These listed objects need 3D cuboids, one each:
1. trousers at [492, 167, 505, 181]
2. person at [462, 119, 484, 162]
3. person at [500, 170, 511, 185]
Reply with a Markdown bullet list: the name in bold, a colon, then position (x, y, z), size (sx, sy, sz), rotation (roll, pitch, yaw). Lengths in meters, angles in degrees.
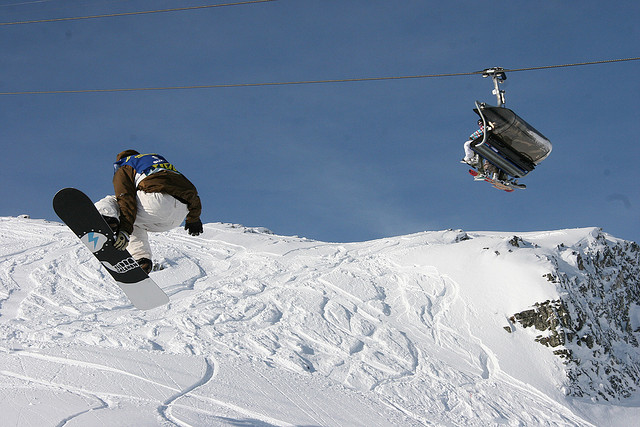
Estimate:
- **trousers**: position (9.124, -2.024, 37.566), size (0.621, 0.524, 0.142), rotation (22, 11, 6)
- **person**: position (7.725, -3.725, 37.275), size (0.993, 1.965, 1.473), rotation (1, -15, 5)
- **person**: position (9.439, -1.873, 37.693), size (0.573, 0.672, 0.342), rotation (1, -15, 3)
